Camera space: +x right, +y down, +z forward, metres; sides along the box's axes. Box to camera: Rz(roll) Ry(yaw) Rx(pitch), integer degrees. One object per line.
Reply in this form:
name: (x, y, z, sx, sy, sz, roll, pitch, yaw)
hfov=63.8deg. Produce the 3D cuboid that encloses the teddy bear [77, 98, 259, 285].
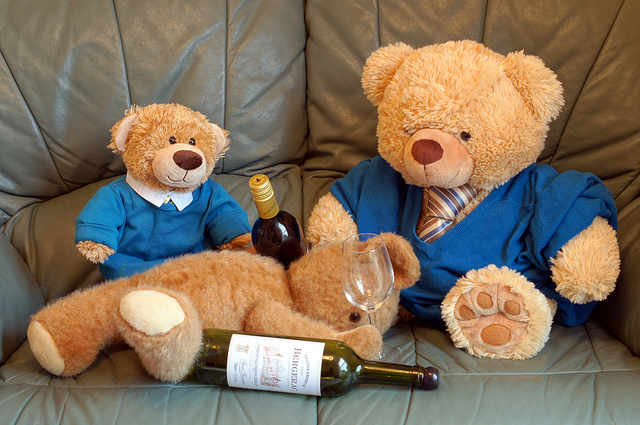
teddy bear: (-0.419, -0.030, 1.473, 0.531, 0.512, 0.380, 4, 15, -35)

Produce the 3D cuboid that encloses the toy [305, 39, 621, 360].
toy: (0.389, -0.048, 1.458, 0.853, 0.772, 0.503, 13, 29, 34)

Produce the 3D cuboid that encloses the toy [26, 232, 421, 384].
toy: (-0.229, 0.241, 1.365, 0.940, 0.311, 0.691, -2, 8, -35)
